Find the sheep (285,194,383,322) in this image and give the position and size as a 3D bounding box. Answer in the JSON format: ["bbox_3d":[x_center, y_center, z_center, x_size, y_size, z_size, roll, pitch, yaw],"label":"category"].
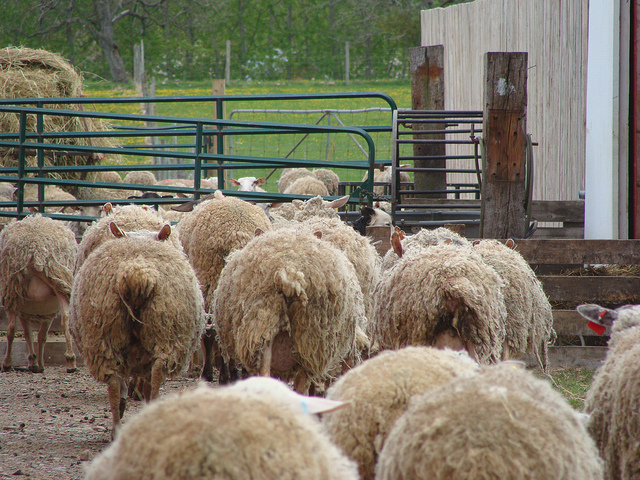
[{"bbox_3d":[0.316,-0.028,26.655,1.086,1.983,2.428,-9,29,-13],"label":"sheep"}]

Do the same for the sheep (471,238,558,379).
[{"bbox_3d":[3.234,1.091,25.231,0.877,1.638,3.095,-6,52,6],"label":"sheep"}]

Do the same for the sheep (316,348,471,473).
[{"bbox_3d":[1.130,2.323,23.899,2.399,1.439,1.394,-19,36,1],"label":"sheep"}]

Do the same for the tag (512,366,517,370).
[{"bbox_3d":[2.906,1.909,23.410,0.060,0.036,0.094,0,6,1],"label":"tag"}]
